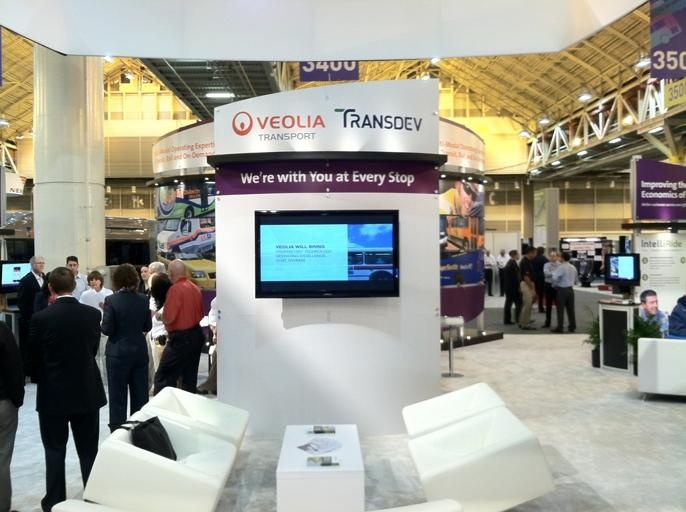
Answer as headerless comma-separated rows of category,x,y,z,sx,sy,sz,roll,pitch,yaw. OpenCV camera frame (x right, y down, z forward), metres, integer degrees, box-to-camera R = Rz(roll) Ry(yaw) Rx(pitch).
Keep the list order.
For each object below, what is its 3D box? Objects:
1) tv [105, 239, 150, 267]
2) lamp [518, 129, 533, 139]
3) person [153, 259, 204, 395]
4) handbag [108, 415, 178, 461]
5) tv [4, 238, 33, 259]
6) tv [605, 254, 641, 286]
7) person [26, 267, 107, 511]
tv,-4.453,-0.037,11.690,0.585,0.553,0.312,0,2,-28
lamp,6.912,-4.627,21.416,0.433,0.283,0.570,4,-16,17
person,-1.566,0.692,5.389,0.467,1.292,0.370,-2,2,-29
handbag,-1.229,1.141,3.533,0.134,0.243,0.257,-24,-8,2
tv,-5.456,-0.109,9.573,0.270,0.364,0.654,-1,2,-18
tv,4.358,0.216,8.787,0.240,0.471,0.464,3,-3,-43
person,-1.822,0.881,3.785,0.465,1.572,0.351,-3,3,-45
